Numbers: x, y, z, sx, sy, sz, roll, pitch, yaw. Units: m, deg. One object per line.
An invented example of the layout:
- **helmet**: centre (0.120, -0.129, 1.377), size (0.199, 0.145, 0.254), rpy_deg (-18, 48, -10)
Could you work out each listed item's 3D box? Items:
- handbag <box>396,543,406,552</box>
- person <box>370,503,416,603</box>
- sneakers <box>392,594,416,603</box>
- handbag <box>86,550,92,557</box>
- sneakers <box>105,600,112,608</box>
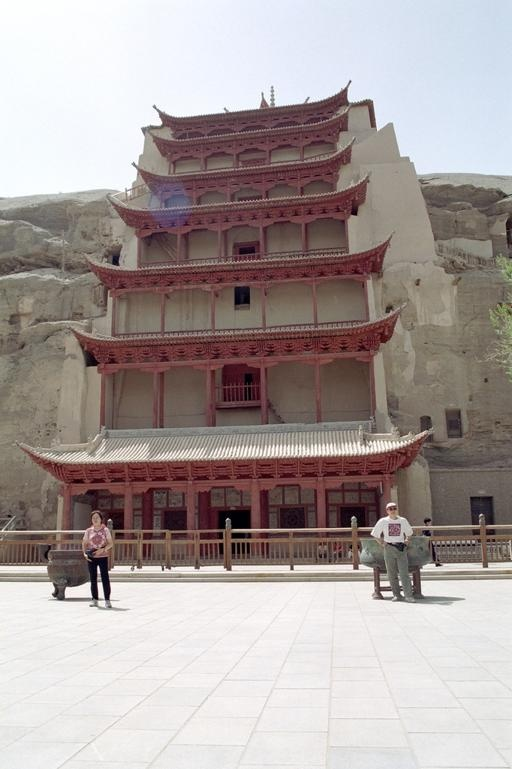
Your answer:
- **handbag**: centre (2.211, 2.485, 8.789), size (0.100, 0.129, 0.137), rpy_deg (-5, -36, 15)
- **person**: centre (2.138, 2.587, 8.925), size (0.585, 1.460, 0.734), rpy_deg (-6, -12, 13)
- **sneakers**: centre (2.255, 3.268, 8.776), size (0.119, 0.144, 0.346), rpy_deg (5, -29, -24)
- **handbag**: centre (-2.648, 2.660, 9.088), size (0.091, 0.098, 0.109), rpy_deg (5, -46, -3)
- **sneakers**: centre (-2.187, 3.241, 8.488), size (0.090, 0.116, 0.122), rpy_deg (3, -18, -18)
